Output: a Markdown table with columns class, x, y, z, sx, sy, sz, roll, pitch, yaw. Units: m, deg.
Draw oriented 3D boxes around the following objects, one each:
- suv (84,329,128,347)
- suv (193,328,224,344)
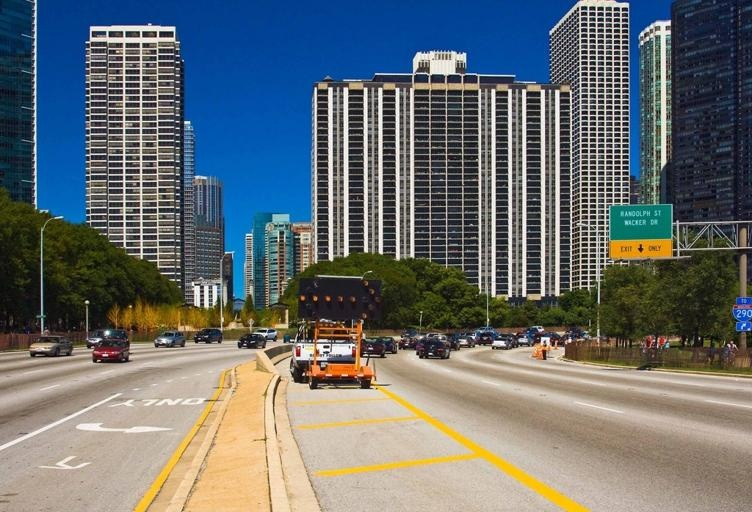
| class | x | y | z | sx | sy | sz | roll | pitch | yaw |
| --- | --- | --- | --- | --- | --- | --- | --- | --- | --- |
| suv | -28.853 | 8.788 | 105.557 | 3.735 | 1.773 | 2.406 | 2 | -5 | -3 |
| suv | -22.920 | 10.926 | 135.951 | 2.014 | 1.442 | 3.321 | -5 | -13 | 20 |
